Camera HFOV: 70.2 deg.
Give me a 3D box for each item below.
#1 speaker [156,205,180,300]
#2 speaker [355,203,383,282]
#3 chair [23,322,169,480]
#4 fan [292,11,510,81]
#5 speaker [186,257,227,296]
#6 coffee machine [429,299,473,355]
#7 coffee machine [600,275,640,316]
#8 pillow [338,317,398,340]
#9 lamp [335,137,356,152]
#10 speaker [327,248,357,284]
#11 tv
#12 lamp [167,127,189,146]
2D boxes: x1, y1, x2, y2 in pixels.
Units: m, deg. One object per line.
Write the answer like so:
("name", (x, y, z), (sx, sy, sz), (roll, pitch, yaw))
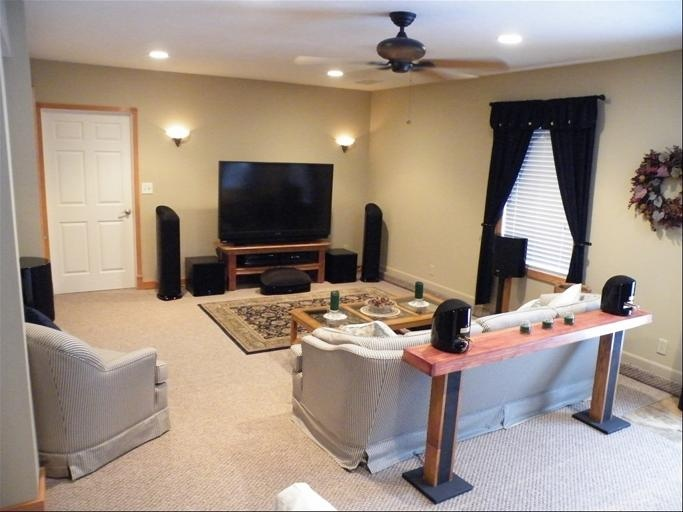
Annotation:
("speaker", (-2.249, -0.042, 6.496), (0.396, 1.218, 0.324), (0, -1, -24))
("speaker", (0.501, -0.213, 7.672), (0.372, 1.207, 0.295), (6, 4, 25))
("chair", (-1.678, 0.930, 3.557), (0.925, 0.929, 0.972), (7, 11, 27))
("fan", (0.525, -1.796, 4.125), (1.648, 0.455, 1.725), (-12, 28, -30))
("speaker", (-1.867, 0.239, 6.790), (0.518, 0.500, 0.513), (-1, 13, -14))
("coffee machine", (0.722, 0.438, 3.125), (0.255, 0.324, 0.323), (1, 5, -13))
("coffee machine", (2.180, 0.298, 3.817), (0.218, 0.318, 0.229), (-3, 11, -9))
("pillow", (0.196, 0.570, 3.814), (0.243, 0.072, 0.247), (7, 5, 43))
("lamp", (0.080, -1.789, 7.787), (0.344, 0.271, 0.102), (-11, 13, -35))
("speaker", (-0.029, 0.149, 7.596), (0.496, 0.474, 0.478), (1, 19, -5))
("tv", (-0.960, -0.774, 7.170), (1.755, 1.176, 0.159), (-5, 12, -29))
("lamp", (-2.226, -1.647, 6.639), (0.268, 0.193, 0.262), (-3, 3, -34))
